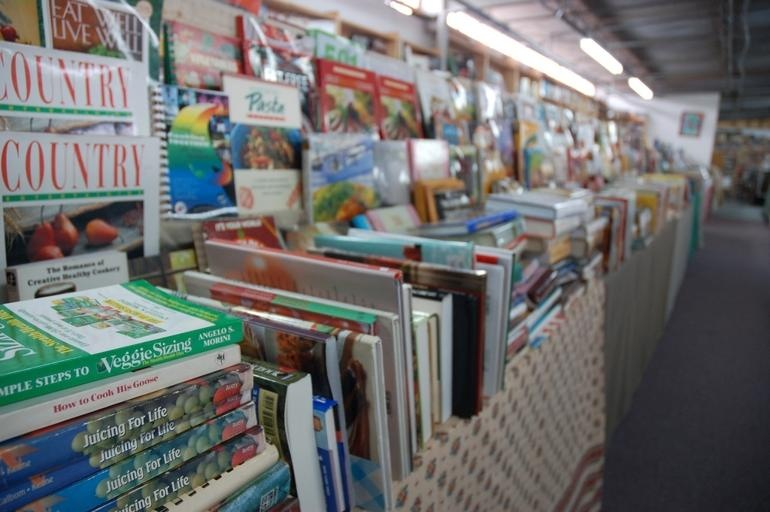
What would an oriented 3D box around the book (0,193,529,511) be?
[{"bbox_3d":[-0.147,0.122,1.253,0.868,0.303,0.656,6,11,24],"label":"book"}]
